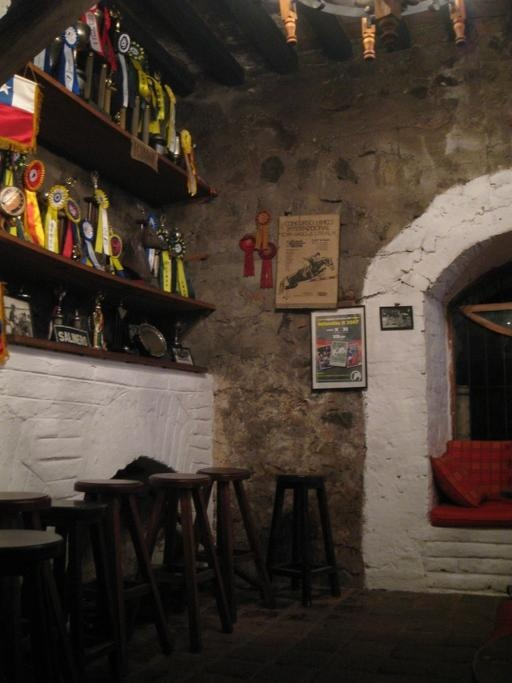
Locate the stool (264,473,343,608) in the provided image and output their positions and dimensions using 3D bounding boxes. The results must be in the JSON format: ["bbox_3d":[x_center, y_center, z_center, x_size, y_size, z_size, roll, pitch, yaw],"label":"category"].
[{"bbox_3d":[0.256,0.954,3.021,0.337,0.660,0.345,3,-1,-39],"label":"stool"}]

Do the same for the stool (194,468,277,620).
[{"bbox_3d":[-0.071,0.867,2.805,0.402,0.688,0.436,-4,-10,28],"label":"stool"}]

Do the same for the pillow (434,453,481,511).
[{"bbox_3d":[1.075,0.768,3.299,0.214,0.245,0.325,2,0,17],"label":"pillow"}]

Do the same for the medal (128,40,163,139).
[{"bbox_3d":[-0.577,-1.274,3.164,0.163,0.550,0.122,2,1,41],"label":"medal"}]

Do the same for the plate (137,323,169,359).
[{"bbox_3d":[-0.561,0.000,3.243,0.035,0.173,0.178,-32,-33,35],"label":"plate"}]

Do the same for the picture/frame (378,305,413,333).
[{"bbox_3d":[0.774,-0.122,3.297,0.157,0.129,0.012,-2,-13,16],"label":"picture/frame"}]

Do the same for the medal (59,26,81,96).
[{"bbox_3d":[-0.807,-1.209,2.581,0.102,0.019,0.333,7,-29,-18],"label":"medal"}]

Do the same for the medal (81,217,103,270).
[{"bbox_3d":[-0.789,-0.461,2.886,0.101,0.276,0.228,2,-10,-9],"label":"medal"}]

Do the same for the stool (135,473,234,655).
[{"bbox_3d":[-0.347,0.804,2.458,0.406,0.707,0.459,0,-2,11],"label":"stool"}]

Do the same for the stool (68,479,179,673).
[{"bbox_3d":[-0.516,0.758,2.127,0.359,0.623,0.390,-3,-7,22],"label":"stool"}]

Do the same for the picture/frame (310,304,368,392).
[{"bbox_3d":[0.462,0.041,3.363,0.298,0.457,0.031,-2,-11,13],"label":"picture/frame"}]
